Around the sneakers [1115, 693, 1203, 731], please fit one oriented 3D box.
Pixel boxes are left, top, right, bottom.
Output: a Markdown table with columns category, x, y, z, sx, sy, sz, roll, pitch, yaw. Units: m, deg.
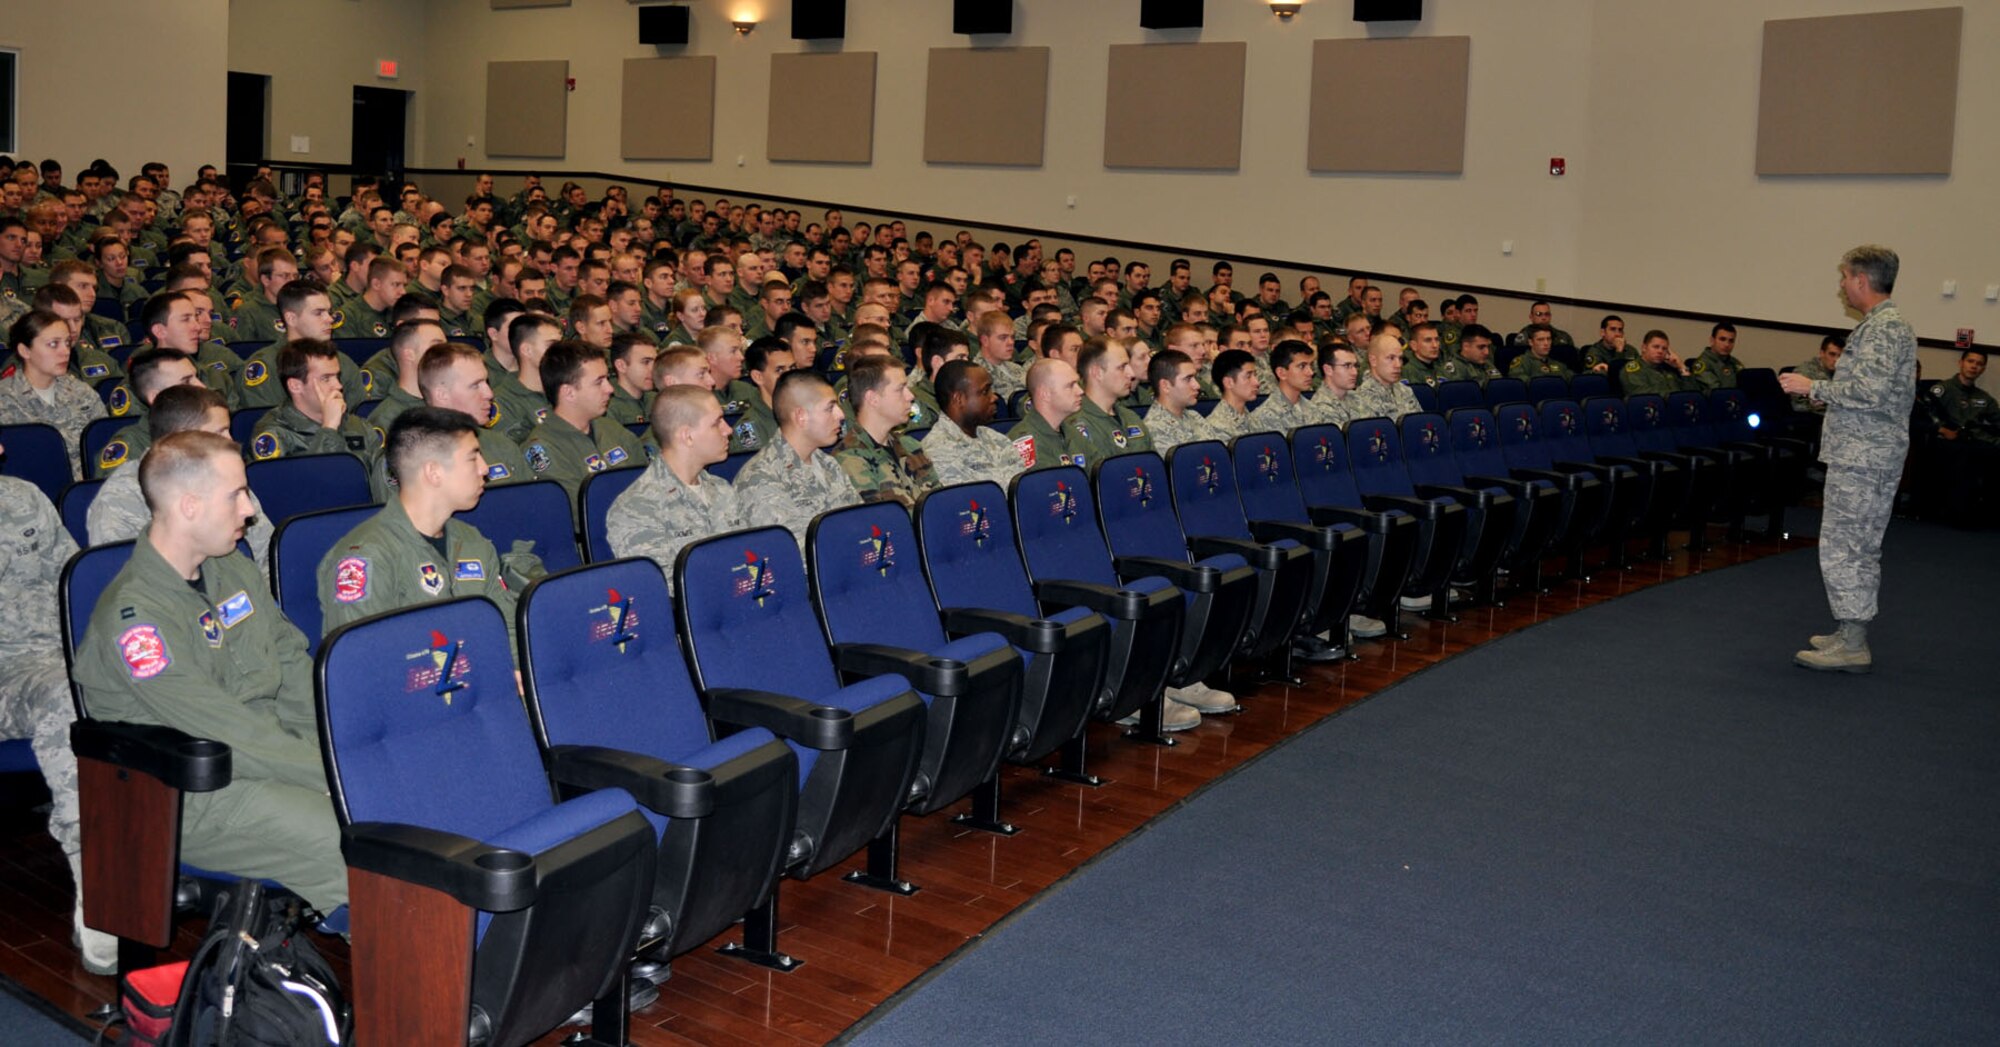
| category | x | y | z | sx | sy | sz | roll | pitch | yaw |
| --- | --- | --- | --- | --- | --- | --- | --- | --- | --- |
| sneakers | 0.806 | 0.961 | 6.548 | 0.426 | 0.166 | 0.188 | -2 | 5 | -1 |

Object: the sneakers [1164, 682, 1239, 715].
| category | x | y | z | sx | sy | sz | roll | pitch | yaw |
| --- | --- | --- | --- | --- | --- | --- | --- | --- | --- |
| sneakers | 1.057 | 0.900 | 6.691 | 0.348 | 0.129 | 0.164 | 1 | 6 | 5 |

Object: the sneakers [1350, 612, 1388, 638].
| category | x | y | z | sx | sy | sz | roll | pitch | yaw |
| --- | --- | --- | --- | --- | --- | --- | --- | --- | --- |
| sneakers | 2.198 | 0.600 | 7.683 | 0.204 | 0.078 | 0.117 | 4 | 11 | 35 |

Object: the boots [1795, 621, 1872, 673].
| category | x | y | z | sx | sy | sz | roll | pitch | yaw |
| --- | --- | --- | --- | --- | --- | --- | --- | --- | --- |
| boots | 4.796 | 0.664 | 7.375 | 0.416 | 0.277 | 0.323 | 7 | 14 | 23 |
